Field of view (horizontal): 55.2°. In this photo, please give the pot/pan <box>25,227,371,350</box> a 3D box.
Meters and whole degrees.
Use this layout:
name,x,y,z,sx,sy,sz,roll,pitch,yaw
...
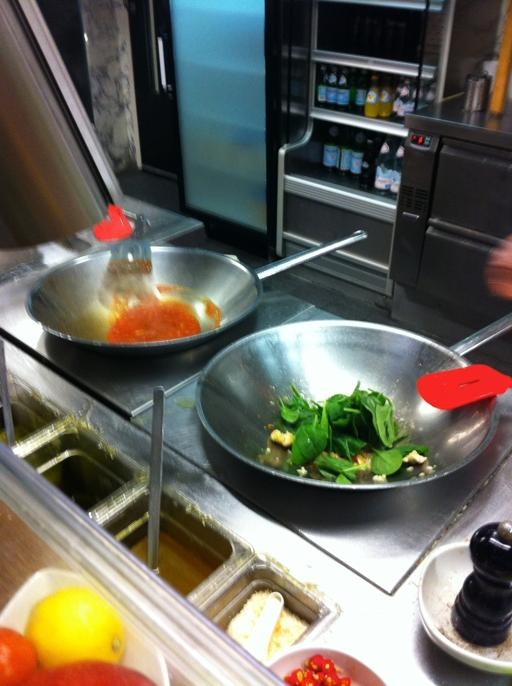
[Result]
name,x,y,z,sx,sy,sz,roll,pitch,yaw
pot/pan,-0.152,-0.103,0.934,0.484,0.067,0.284,-14,35,-30

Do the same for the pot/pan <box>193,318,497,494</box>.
name,x,y,z,sx,sy,sz,roll,pitch,yaw
pot/pan,0.112,0.084,0.684,0.387,0.096,0.351,0,37,-1

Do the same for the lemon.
name,x,y,z,sx,sy,sz,roll,pitch,yaw
lemon,-0.091,0.153,0.245,0.039,0.031,0.029,24,44,-6
